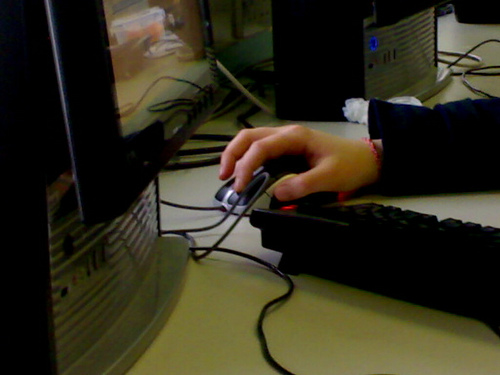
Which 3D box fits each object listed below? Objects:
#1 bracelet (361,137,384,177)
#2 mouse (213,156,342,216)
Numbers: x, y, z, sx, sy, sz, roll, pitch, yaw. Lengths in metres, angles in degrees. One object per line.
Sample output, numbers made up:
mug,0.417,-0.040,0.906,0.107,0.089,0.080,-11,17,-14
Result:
bracelet,0.180,-0.046,0.632,0.013,0.045,0.044,-27,38,5
mouse,0.033,-0.004,0.559,0.154,0.046,0.080,4,15,-3
